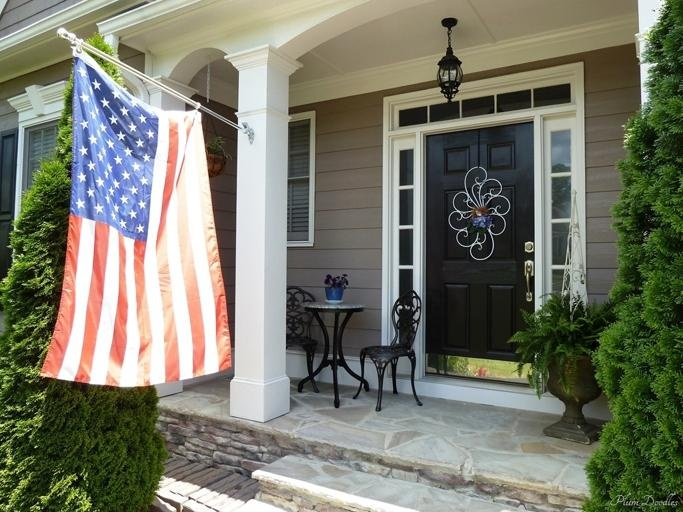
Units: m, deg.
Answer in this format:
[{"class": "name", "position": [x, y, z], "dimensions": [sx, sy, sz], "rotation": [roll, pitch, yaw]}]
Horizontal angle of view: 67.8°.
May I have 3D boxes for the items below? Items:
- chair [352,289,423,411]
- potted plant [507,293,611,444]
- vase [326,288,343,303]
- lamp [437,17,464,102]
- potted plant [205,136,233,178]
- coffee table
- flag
[{"class": "chair", "position": [0.479, 0.793, 4.477], "dimensions": [0.551, 0.959, 0.816], "rotation": [1, 1, 32]}, {"class": "potted plant", "position": [1.567, 0.785, 3.609], "dimensions": [0.697, 1.017, 0.474], "rotation": [1, 1, 12]}, {"class": "vase", "position": [-0.068, 0.361, 4.784], "dimensions": [0.139, 0.106, 0.142], "rotation": [1, -3, 1]}, {"class": "lamp", "position": [0.930, -1.622, 4.362], "dimensions": [0.198, 0.605, 0.518], "rotation": [1, 1, 12]}, {"class": "potted plant", "position": [-1.168, -0.939, 4.736], "dimensions": [0.211, 0.310, 0.265], "rotation": [-4, 13, -15]}, {"class": "coffee table", "position": [-0.091, 0.853, 4.733], "dimensions": [0.557, 0.765, 0.585], "rotation": [-2, -5, 32]}, {"class": "flag", "position": [-0.994, -0.169, 2.542], "dimensions": [0.266, 1.583, 0.923], "rotation": [1, 1, 33]}]
